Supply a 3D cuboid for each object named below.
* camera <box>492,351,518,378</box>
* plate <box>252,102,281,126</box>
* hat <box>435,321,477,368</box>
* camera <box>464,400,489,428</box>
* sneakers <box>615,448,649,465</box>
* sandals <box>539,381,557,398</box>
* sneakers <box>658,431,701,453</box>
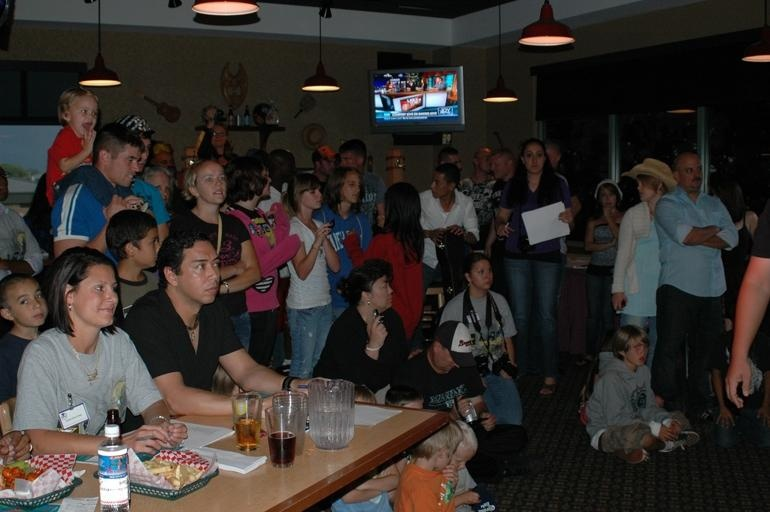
[{"bbox_3d":[0.943,0.875,4.700,0.174,0.175,0.183,-46,-5,13],"label":"camera"},{"bbox_3d":[-1.859,-2.209,9.365,0.406,0.401,0.305,-23,27,-22],"label":"plate"},{"bbox_3d":[0.482,0.631,4.117,0.275,0.341,0.166,1,14,8],"label":"hat"},{"bbox_3d":[0.624,1.102,4.121,0.122,0.076,0.215,-23,-27,-1],"label":"camera"},{"bbox_3d":[1.837,1.481,4.396,0.166,0.068,0.128,-3,-9,7],"label":"sneakers"},{"bbox_3d":[1.536,1.273,5.611,0.118,0.081,0.320,-1,1,9],"label":"sandals"},{"bbox_3d":[2.250,1.424,4.535,0.236,0.083,0.177,-14,-3,-32],"label":"sneakers"}]
